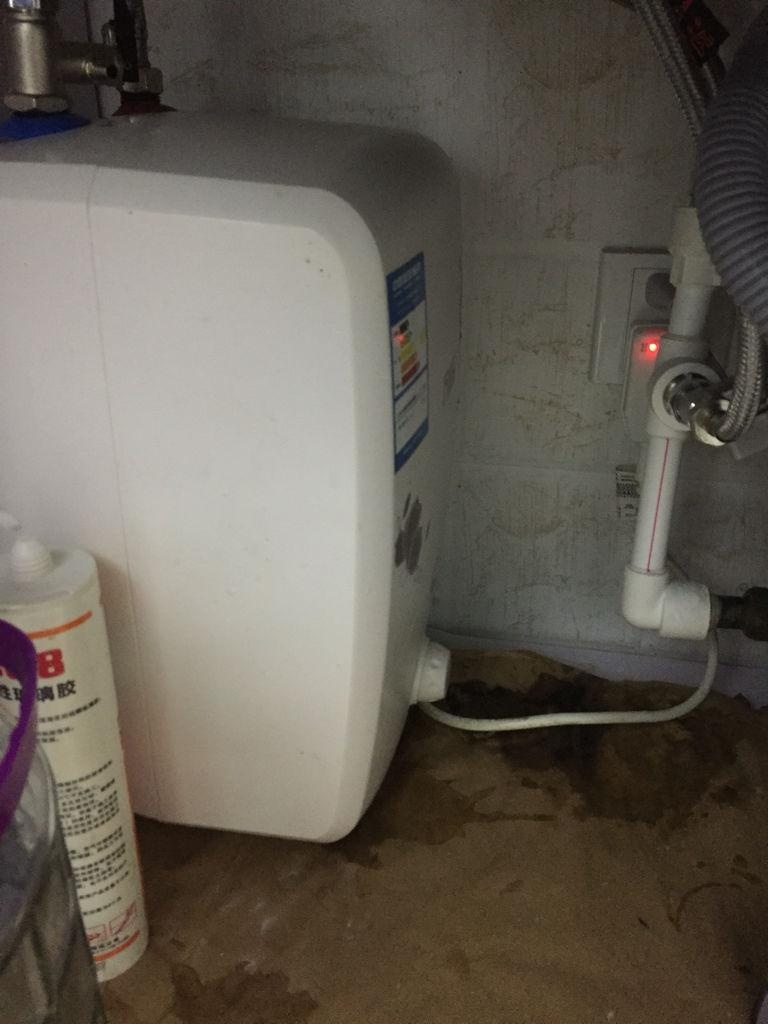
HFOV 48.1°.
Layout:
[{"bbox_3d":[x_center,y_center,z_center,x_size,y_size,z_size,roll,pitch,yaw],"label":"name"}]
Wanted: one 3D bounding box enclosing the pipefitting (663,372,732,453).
[{"bbox_3d":[0.332,-0.099,0.942,0.029,0.065,0.083,-6,31,-20],"label":"pipefitting"}]
